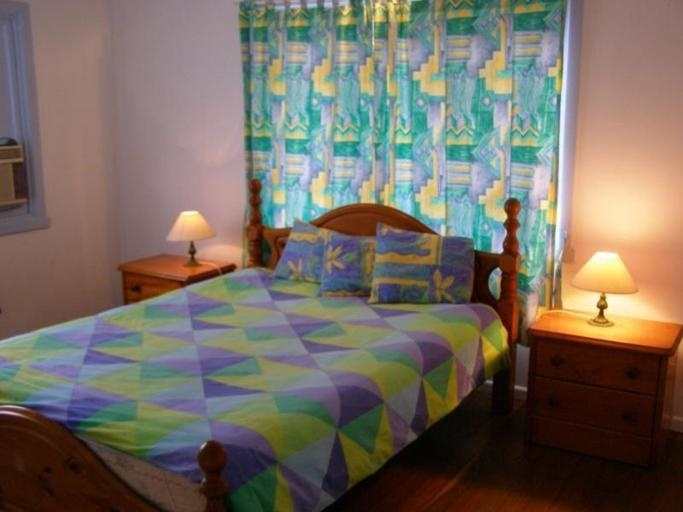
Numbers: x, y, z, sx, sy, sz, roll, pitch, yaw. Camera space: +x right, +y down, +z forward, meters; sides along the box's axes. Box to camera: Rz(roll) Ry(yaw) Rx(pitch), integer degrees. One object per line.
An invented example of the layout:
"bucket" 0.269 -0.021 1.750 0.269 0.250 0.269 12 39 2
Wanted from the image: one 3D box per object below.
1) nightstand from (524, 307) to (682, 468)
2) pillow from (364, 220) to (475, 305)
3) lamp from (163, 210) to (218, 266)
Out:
"nightstand" 1.481 0.693 3.376 0.924 0.918 0.710 4 10 31
"pillow" 0.473 0.057 3.399 0.474 0.373 0.168 4 -10 6
"lamp" -1.123 -0.135 4.228 0.394 0.413 0.384 -3 11 -5
